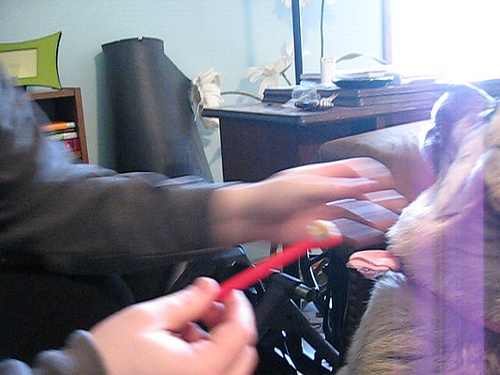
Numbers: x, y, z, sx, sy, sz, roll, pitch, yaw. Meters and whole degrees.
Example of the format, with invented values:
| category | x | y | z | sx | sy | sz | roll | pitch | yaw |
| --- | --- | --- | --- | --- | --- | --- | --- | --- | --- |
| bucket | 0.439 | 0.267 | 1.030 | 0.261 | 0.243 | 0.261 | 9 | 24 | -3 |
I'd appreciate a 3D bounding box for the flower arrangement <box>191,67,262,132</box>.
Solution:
| category | x | y | z | sx | sy | sz | roll | pitch | yaw |
| --- | --- | --- | --- | --- | --- | --- | --- | --- | --- |
| flower arrangement | -0.087 | -0.359 | 1.783 | 0.265 | 0.186 | 0.237 | -18 | -20 | -2 |
